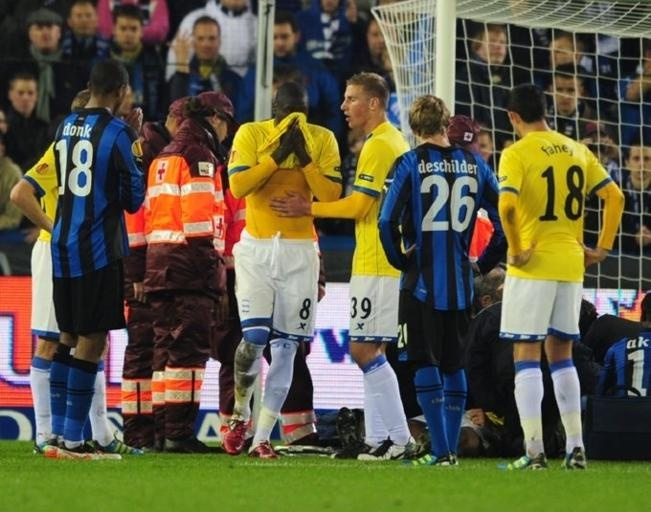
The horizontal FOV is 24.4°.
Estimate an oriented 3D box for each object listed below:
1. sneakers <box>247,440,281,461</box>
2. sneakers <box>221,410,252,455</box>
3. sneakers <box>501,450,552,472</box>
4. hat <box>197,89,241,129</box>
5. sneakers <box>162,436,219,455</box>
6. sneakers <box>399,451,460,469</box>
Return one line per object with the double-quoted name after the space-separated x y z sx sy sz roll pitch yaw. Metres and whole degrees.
-0.504 1.567 12.205 0.247 0.141 0.277 2 -4 0 "sneakers"
-0.758 1.479 12.505 0.245 0.325 0.208 1 -4 13 "sneakers"
1.555 1.588 11.689 0.368 0.152 0.144 -3 -14 13 "sneakers"
-0.937 -1.304 13.245 0.257 0.301 0.483 -2 -6 41 "hat"
-1.141 1.615 12.712 0.494 0.220 0.174 1 -7 -9 "sneakers"
0.820 1.622 11.872 0.401 0.190 0.145 1 -8 17 "sneakers"
